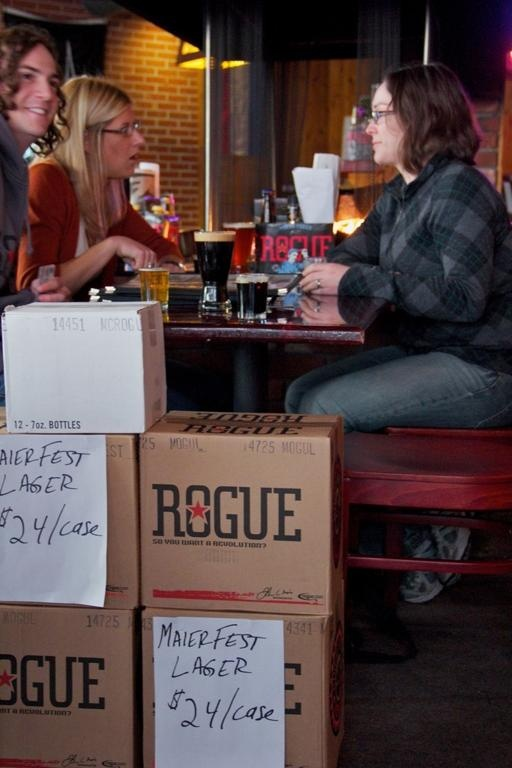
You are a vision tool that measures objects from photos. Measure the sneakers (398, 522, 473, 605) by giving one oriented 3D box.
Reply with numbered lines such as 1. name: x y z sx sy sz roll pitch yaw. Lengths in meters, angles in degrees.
1. sneakers: 0.446 0.442 1.755 0.183 0.277 0.090 5 18 16

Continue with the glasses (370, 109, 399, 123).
1. glasses: 0.357 -0.740 1.929 0.097 0.029 0.093 5 19 9
